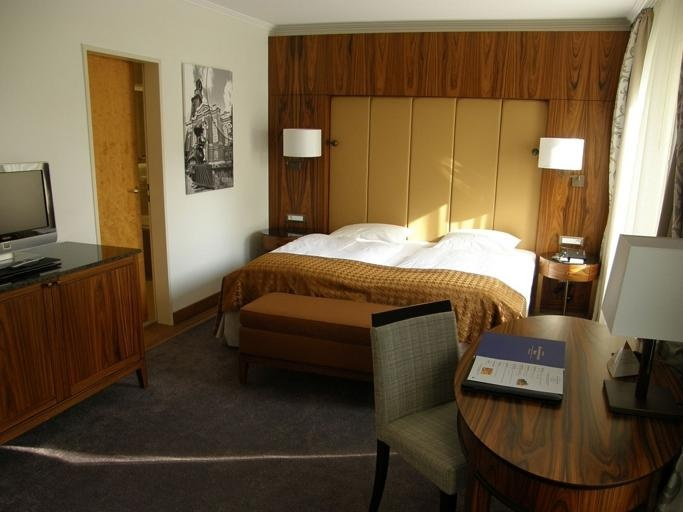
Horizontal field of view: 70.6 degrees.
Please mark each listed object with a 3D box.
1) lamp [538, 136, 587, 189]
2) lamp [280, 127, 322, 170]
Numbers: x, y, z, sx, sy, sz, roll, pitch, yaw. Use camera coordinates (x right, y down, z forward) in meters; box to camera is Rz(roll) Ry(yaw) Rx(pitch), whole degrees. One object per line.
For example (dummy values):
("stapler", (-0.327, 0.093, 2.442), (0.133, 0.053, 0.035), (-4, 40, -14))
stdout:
("lamp", (2.236, -0.942, 4.874), (0.419, 0.496, 0.490), (9, 16, 29))
("lamp", (-0.473, -1.270, 5.591), (0.415, 0.322, 0.423), (2, 14, 9))
